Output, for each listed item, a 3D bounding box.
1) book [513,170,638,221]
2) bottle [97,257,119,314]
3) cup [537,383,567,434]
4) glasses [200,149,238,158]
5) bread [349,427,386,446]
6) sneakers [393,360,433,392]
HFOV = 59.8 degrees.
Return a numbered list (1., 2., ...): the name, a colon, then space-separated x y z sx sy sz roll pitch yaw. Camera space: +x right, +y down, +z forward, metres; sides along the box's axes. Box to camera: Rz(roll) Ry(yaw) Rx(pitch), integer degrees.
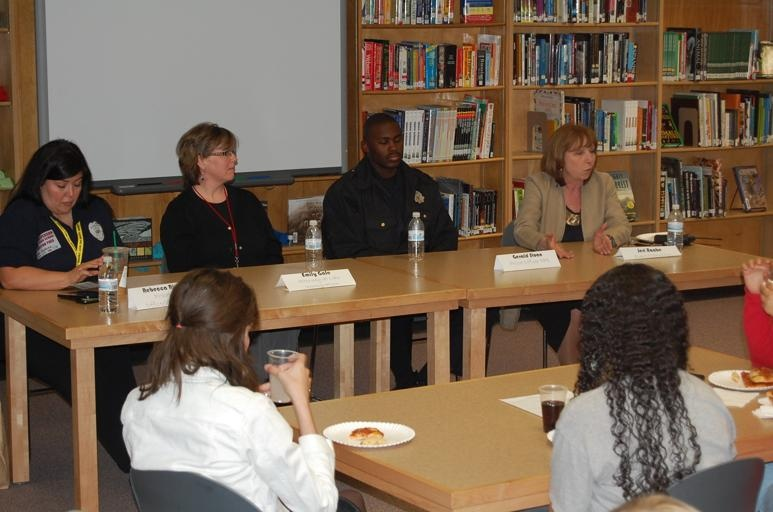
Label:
1. book: 1.308 -0.426 4.788 0.495 0.340 0.174 -5 9 -26
2. bottle: -1.262 0.123 3.033 0.088 0.246 0.183 -4 6 -23
3. cup: 0.523 0.473 2.172 0.125 0.168 0.135 0 10 0
4. glasses: -0.991 -0.599 3.958 0.185 0.042 0.062 -5 7 -26
5. bread: -0.063 0.559 2.085 0.103 0.028 0.100 -2 6 -5
6. sneakers: 0.142 0.782 4.271 0.331 0.080 0.218 -4 11 -26
